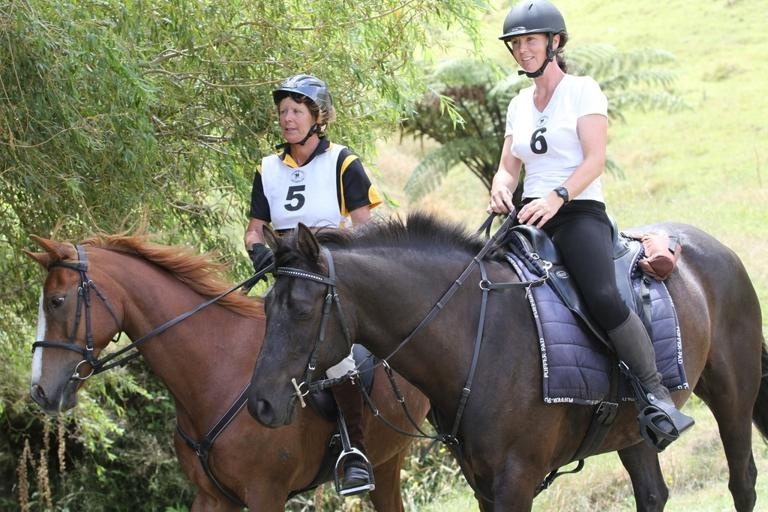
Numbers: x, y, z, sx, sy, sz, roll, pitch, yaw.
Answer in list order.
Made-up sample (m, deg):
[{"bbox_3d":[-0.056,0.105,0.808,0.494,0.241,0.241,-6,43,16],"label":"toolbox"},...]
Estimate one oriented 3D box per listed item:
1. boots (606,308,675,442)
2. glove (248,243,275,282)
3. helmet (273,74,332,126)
[{"bbox_3d":[1.925,0.970,6.508,0.448,0.227,1.097,20,45,-18],"label":"boots"},{"bbox_3d":[-0.993,0.052,6.902,0.218,0.232,0.253,-3,12,1],"label":"glove"},{"bbox_3d":[-0.655,-1.276,7.118,0.467,0.364,0.331,10,6,-42],"label":"helmet"}]
